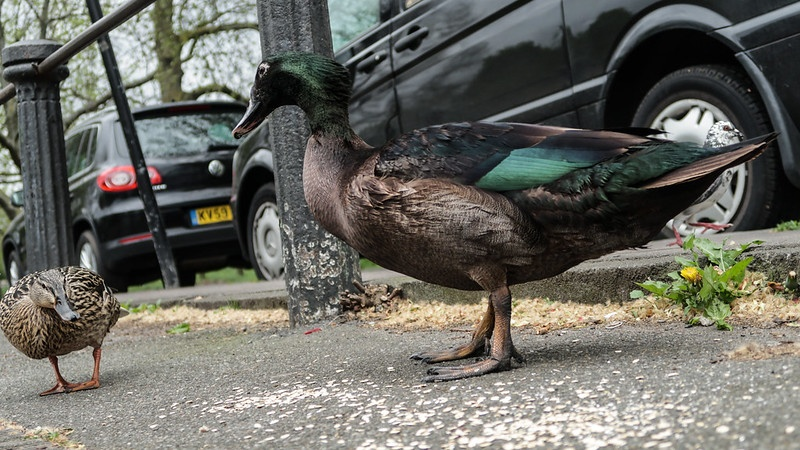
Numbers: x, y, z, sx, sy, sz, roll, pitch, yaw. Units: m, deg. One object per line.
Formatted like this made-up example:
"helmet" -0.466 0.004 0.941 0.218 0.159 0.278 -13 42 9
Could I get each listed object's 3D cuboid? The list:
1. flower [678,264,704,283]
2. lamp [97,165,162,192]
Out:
"flower" 2.036 0.350 6.457 0.146 0.061 0.124 -1 6 -1
"lamp" -3.234 -0.536 11.166 0.801 0.405 0.224 -6 -13 11
